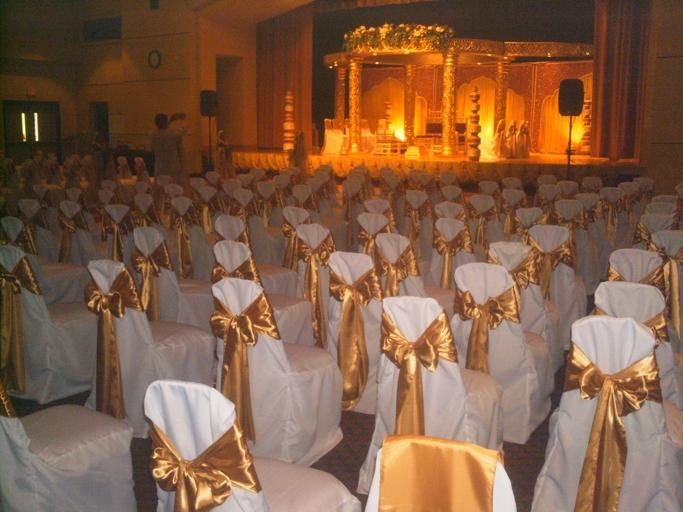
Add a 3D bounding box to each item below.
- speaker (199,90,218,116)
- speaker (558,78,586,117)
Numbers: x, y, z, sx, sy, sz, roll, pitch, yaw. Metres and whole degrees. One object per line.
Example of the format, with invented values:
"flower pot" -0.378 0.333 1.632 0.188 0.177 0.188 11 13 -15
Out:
"speaker" -2.282 -2.648 11.195 0.263 0.481 0.374 -2 6 -18
"speaker" 3.263 -2.220 9.220 0.354 0.614 0.341 -1 -17 22
